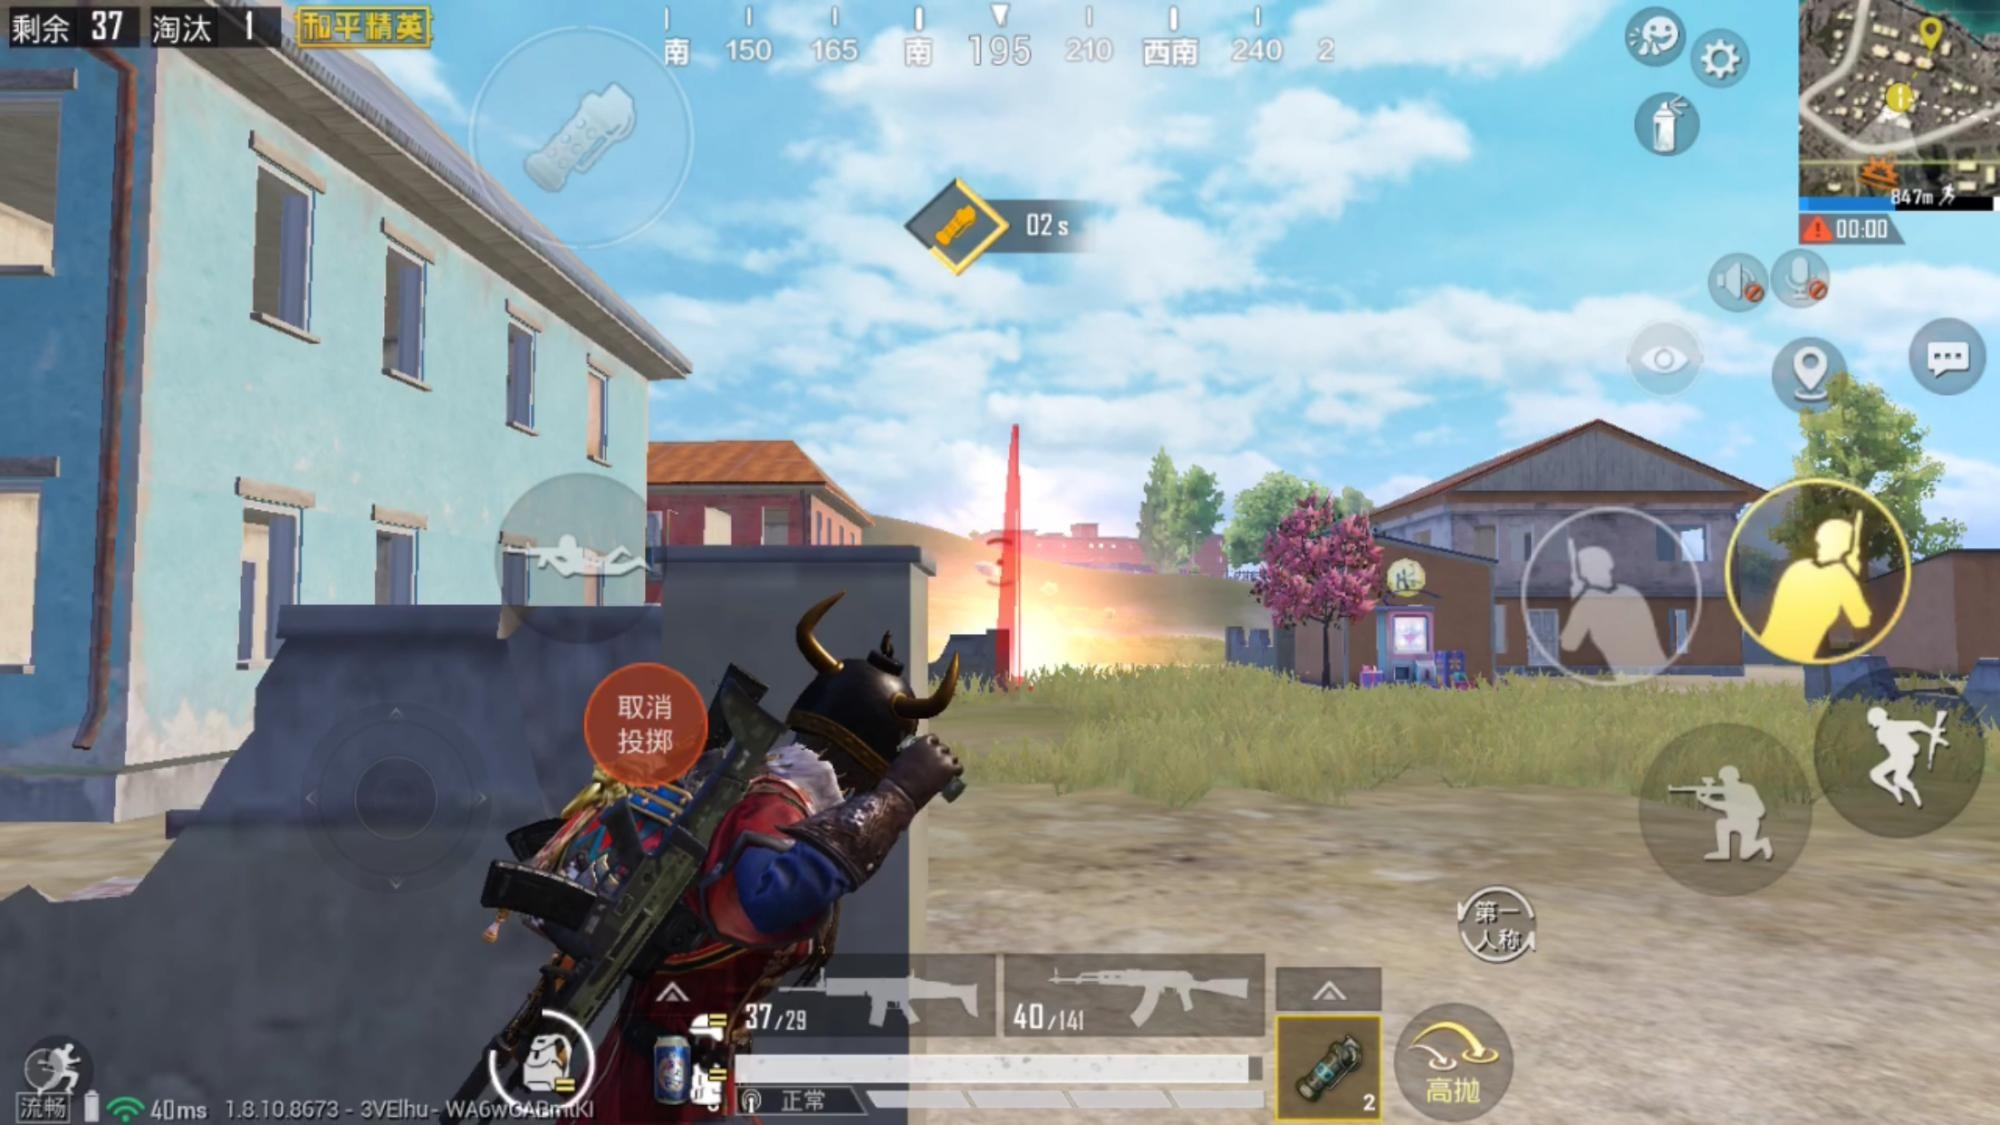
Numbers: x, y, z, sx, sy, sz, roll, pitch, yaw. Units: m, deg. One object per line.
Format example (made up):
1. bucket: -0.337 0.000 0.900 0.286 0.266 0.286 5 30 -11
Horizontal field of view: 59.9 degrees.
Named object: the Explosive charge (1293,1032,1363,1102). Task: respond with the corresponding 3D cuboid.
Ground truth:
1. Explosive charge: 3.228 4.909 16.762 0.687 0.466 0.353 -39 -14 -12
